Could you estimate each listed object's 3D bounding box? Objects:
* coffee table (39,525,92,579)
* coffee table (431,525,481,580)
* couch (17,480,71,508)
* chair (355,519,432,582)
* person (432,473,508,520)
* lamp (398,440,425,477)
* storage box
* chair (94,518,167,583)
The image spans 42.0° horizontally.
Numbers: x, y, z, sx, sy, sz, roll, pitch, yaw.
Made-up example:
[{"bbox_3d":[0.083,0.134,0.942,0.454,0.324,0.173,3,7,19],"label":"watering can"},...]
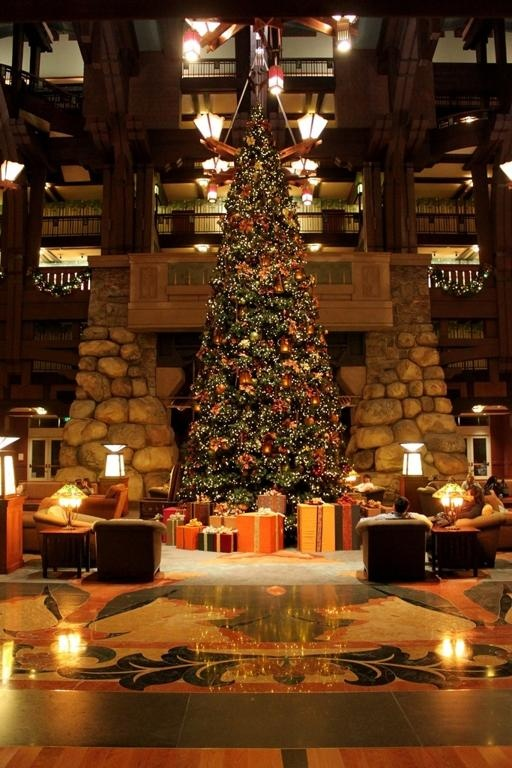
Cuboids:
[{"bbox_3d":[-1.855,1.598,6.506,0.550,0.485,0.536,0,-5,-3],"label":"coffee table"},{"bbox_3d":[1.899,1.593,6.365,0.490,0.440,0.477,0,-10,3],"label":"coffee table"},{"bbox_3d":[-2.657,1.370,8.311,0.698,0.281,0.289,0,-27,-6],"label":"couch"},{"bbox_3d":[1.219,1.480,6.022,0.580,0.479,0.588,-1,-2,-4],"label":"chair"},{"bbox_3d":[2.197,1.202,6.807,0.752,0.562,0.798,0,-9,17],"label":"person"},{"bbox_3d":[2.689,1.287,11.592,0.309,0.567,1.629,-1,-6,12],"label":"lamp"},{"bbox_3d":[0.264,1.699,7.990,1.923,0.560,0.708,-1,-6,6],"label":"storage box"},{"bbox_3d":[-1.158,1.459,6.247,0.636,0.528,0.589,1,1,1],"label":"chair"}]
